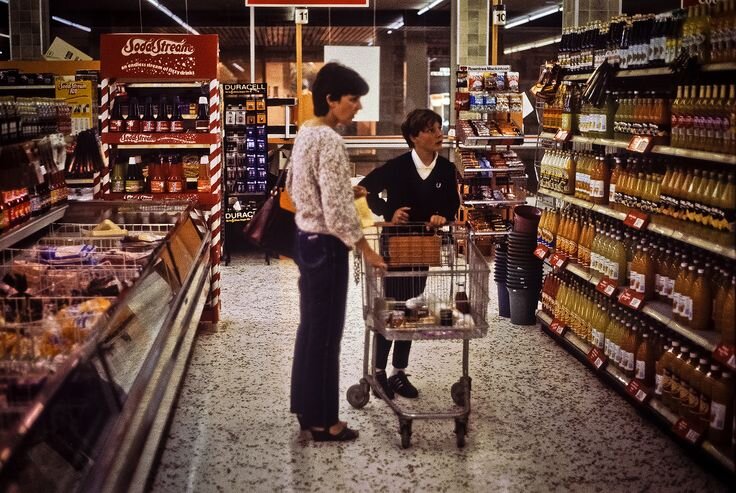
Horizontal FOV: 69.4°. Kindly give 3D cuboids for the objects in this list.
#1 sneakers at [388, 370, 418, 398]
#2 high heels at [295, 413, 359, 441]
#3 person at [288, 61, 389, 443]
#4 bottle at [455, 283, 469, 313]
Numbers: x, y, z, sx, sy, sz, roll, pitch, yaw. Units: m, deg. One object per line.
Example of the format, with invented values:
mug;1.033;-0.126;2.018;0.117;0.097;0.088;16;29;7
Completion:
sneakers;0.268;1.064;4.233;0.275;0.128;0.135;17;17;42
high heels;-0.271;1.267;3.702;0.447;0.174;0.168;-2;13;-7
person;-0.240;0.123;3.389;0.568;2.451;0.431;-2;13;-9
bottle;0.628;0.356;3.540;0.106;0.183;0.178;0;-4;-1
